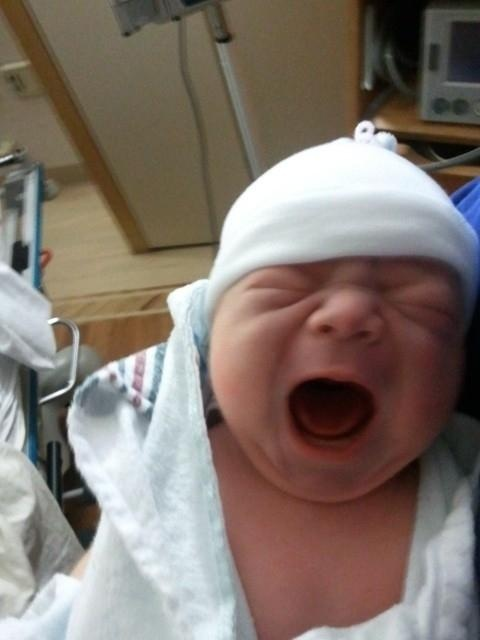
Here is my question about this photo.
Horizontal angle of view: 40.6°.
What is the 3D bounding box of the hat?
[{"bbox_3d":[0.089,-0.085,0.593,0.176,0.171,0.136,12,53,-16],"label":"hat"}]
